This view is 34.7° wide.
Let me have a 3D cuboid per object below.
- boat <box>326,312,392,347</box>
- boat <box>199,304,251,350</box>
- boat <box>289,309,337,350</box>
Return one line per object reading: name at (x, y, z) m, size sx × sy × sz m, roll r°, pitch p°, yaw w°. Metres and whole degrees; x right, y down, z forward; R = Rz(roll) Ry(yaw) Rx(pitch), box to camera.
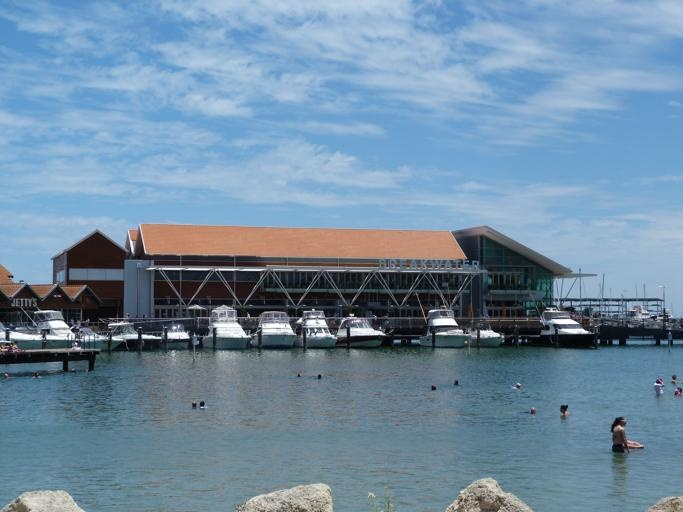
boat at (1.030, 8.182, 114.215) m, size 2.863 × 1.767 × 5.714 m, roll 1°, pitch -5°, yaw -30°
boat at (-11.859, 7.301, 110.682) m, size 4.249 × 4.530 × 5.429 m, roll 0°, pitch -6°, yaw -7°
boat at (-3.134, 7.792, 113.625) m, size 4.471 × 3.543 × 11.919 m, roll 0°, pitch -4°, yaw -11°
